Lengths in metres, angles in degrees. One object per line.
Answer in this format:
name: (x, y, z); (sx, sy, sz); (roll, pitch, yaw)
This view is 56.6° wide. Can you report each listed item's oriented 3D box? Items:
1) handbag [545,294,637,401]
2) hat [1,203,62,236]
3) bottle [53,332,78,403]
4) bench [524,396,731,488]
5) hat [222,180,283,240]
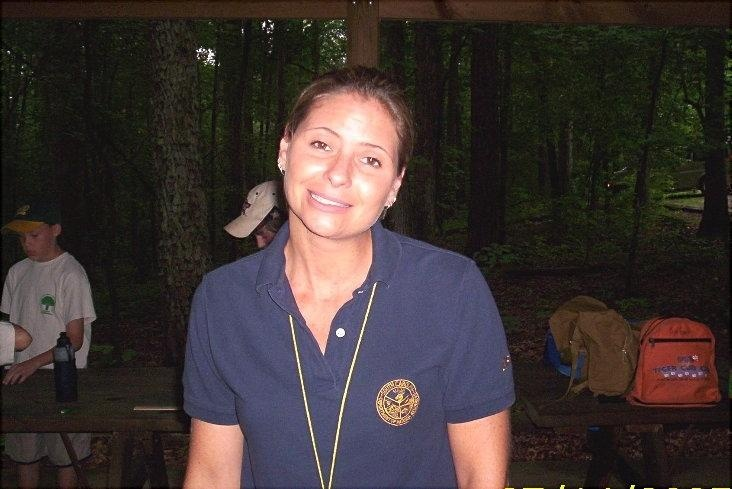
handbag: (2.588, 1.127, 7.738); (0.860, 1.077, 0.536); (6, 7, 44)
hat: (-4.059, -0.308, 8.248); (0.410, 0.286, 0.569); (-3, 0, 43)
bottle: (-3.349, 1.365, 7.572); (0.254, 0.773, 0.173); (1, 1, -23)
bench: (2.876, 2.093, 7.991); (2.295, 1.020, 1.165); (-1, 30, 5)
hat: (-1.311, -0.460, 7.900); (0.483, 0.324, 0.777); (23, 37, 40)
